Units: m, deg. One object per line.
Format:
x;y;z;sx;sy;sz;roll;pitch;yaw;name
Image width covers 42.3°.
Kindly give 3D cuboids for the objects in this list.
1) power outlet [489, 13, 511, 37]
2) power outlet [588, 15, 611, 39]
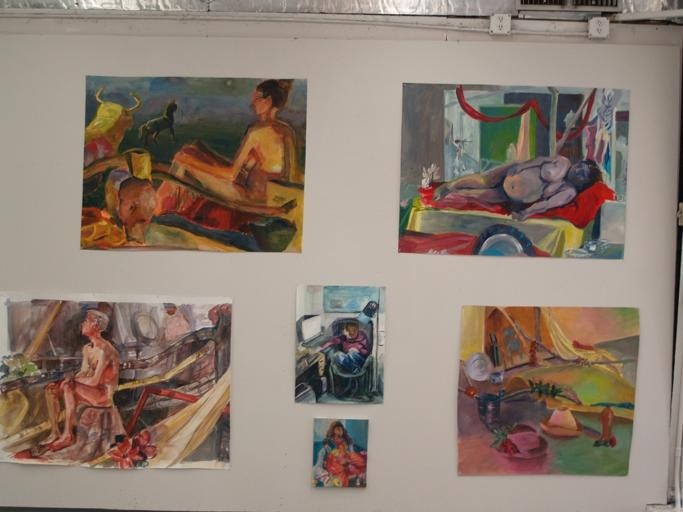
0.748;-1.105;4.182;0.091;0.099;0.027;3;2;3;power outlet
1.217;-1.090;4.184;0.119;0.137;0.079;0;-4;4;power outlet
